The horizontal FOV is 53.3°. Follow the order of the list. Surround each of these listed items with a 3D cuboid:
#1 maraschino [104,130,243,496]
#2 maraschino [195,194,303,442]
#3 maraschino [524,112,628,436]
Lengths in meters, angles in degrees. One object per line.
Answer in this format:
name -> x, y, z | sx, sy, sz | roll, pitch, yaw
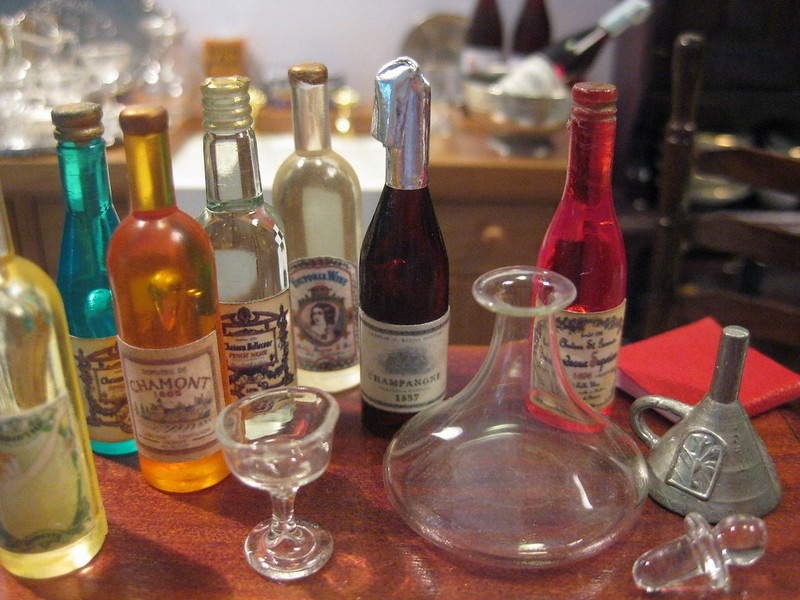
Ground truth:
maraschino -> -0.212, 0.008, 0.717 | 0.104, 0.368, 0.099 | -15, 35, -28
maraschino -> -0.140, 0.012, 0.736 | 0.082, 0.228, 0.069 | -6, 20, -21
maraschino -> 0.179, -0.031, 0.791 | 0.103, 0.347, 0.099 | 11, 29, 25
